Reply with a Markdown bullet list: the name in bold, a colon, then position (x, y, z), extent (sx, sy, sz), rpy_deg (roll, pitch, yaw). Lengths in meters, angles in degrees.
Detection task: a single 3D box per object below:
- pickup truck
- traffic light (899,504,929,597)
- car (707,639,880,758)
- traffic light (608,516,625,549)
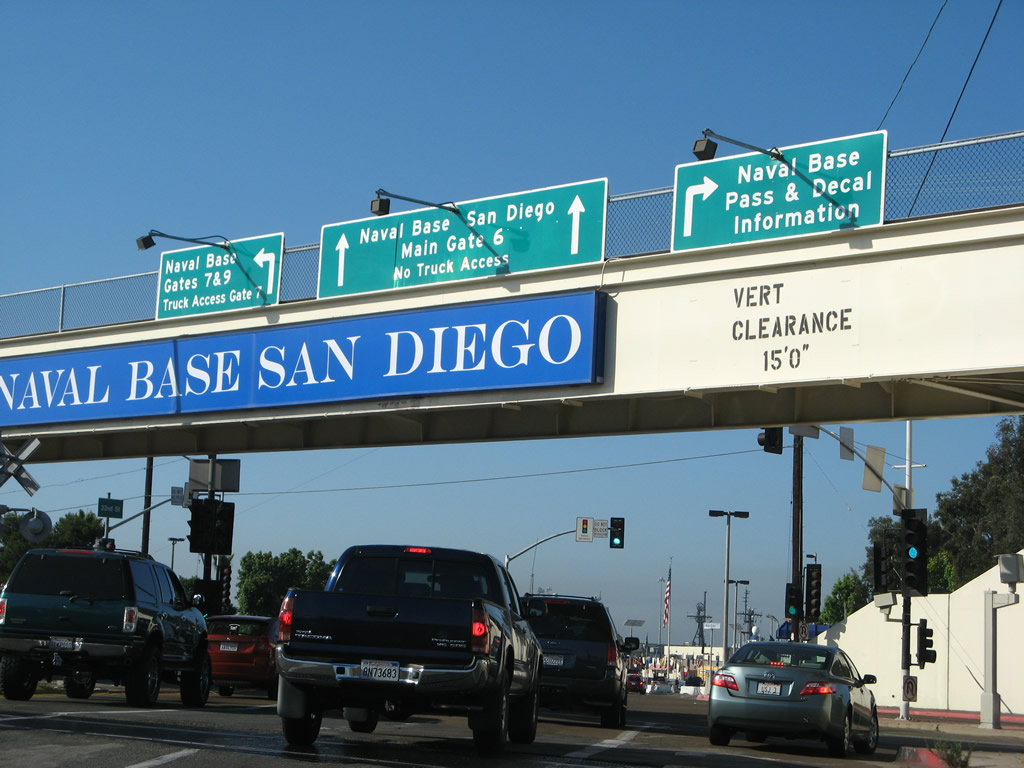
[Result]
- **pickup truck**: position (-1.592, 4.139, 24.606), extent (3.383, 2.902, 6.778), rpy_deg (2, -8, 6)
- **traffic light**: position (10.681, 4.413, 39.335), extent (0.670, 2.289, 0.923), rpy_deg (-2, -11, 16)
- **car**: position (5.314, 5.740, 26.988), extent (3.058, 2.082, 1.748), rpy_deg (5, -11, -20)
- **traffic light**: position (4.353, 6.229, 61.951), extent (0.521, 1.099, 0.359), rpy_deg (3, -11, -13)
